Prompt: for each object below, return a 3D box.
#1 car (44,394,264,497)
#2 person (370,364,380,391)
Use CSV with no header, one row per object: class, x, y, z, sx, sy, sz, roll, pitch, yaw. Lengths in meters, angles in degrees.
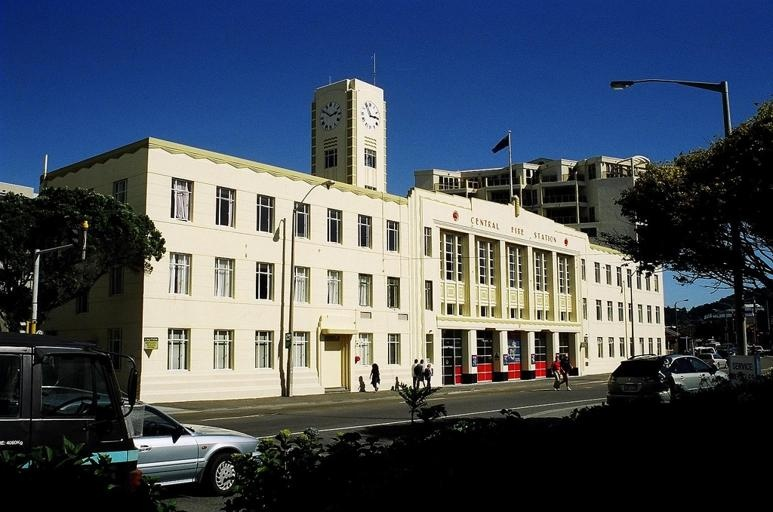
car,-4.274,4.156,16.254,3.127,1.377,1.861,2,-5,-29
person,-0.630,7.057,43.585,0.513,1.567,1.369,2,-3,-1
